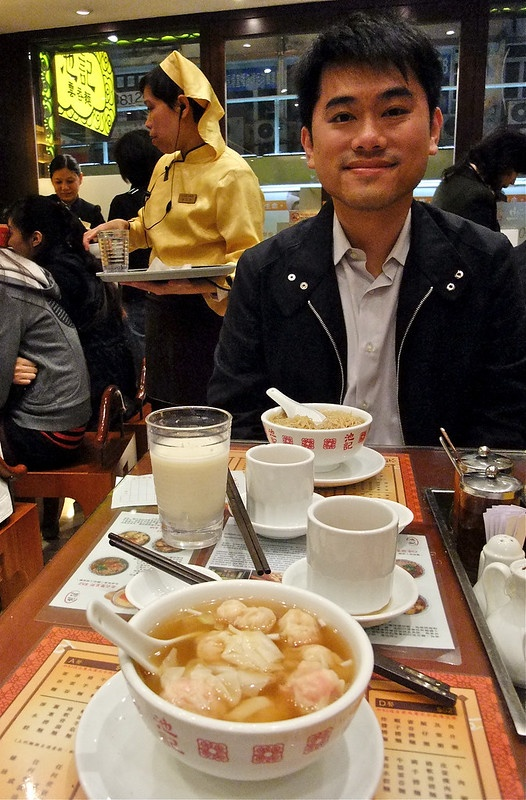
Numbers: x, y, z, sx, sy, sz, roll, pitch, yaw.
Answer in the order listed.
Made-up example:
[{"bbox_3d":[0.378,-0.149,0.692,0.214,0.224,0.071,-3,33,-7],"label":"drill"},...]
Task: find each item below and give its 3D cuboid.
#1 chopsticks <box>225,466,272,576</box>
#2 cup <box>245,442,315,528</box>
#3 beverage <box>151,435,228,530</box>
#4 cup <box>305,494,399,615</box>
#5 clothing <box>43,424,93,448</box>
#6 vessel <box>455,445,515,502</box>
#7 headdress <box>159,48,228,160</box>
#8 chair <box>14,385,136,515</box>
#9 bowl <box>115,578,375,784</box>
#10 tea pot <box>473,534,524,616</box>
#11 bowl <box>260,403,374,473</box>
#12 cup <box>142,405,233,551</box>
[{"bbox_3d":[-0.017,0.170,0.817,0.029,0.011,0.229,-10,20,-7],"label":"chopsticks"},{"bbox_3d":[0.023,0.118,0.832,0.089,0.093,0.123,0,12,0],"label":"cup"},{"bbox_3d":[-0.114,0.115,0.896,0.119,0.134,0.117,5,12,24],"label":"beverage"},{"bbox_3d":[0.091,0.175,0.688,0.106,0.110,0.119,-3,16,-10],"label":"cup"},{"bbox_3d":[-0.930,0.158,2.622,0.108,0.074,0.101,-3,7,0],"label":"clothing"},{"bbox_3d":[0.330,0.106,0.838,0.058,0.057,0.103,-1,13,4],"label":"vessel"},{"bbox_3d":[-0.396,-1.468,2.814,0.366,0.275,0.507,-17,-8,-6],"label":"headdress"},{"bbox_3d":[-0.849,0.208,2.467,0.449,0.687,0.468,-2,20,-12],"label":"chair"},{"bbox_3d":[-0.002,0.162,0.371,0.127,0.057,0.126,4,16,-1],"label":"bowl"},{"bbox_3d":[0.273,0.202,0.645,0.039,0.102,0.042,-4,31,2],"label":"tea pot"},{"bbox_3d":[0.102,0.062,1.081,0.144,0.079,0.149,-2,14,0],"label":"bowl"},{"bbox_3d":[-0.114,0.123,0.862,0.137,0.217,0.140,0,25,0],"label":"cup"}]
